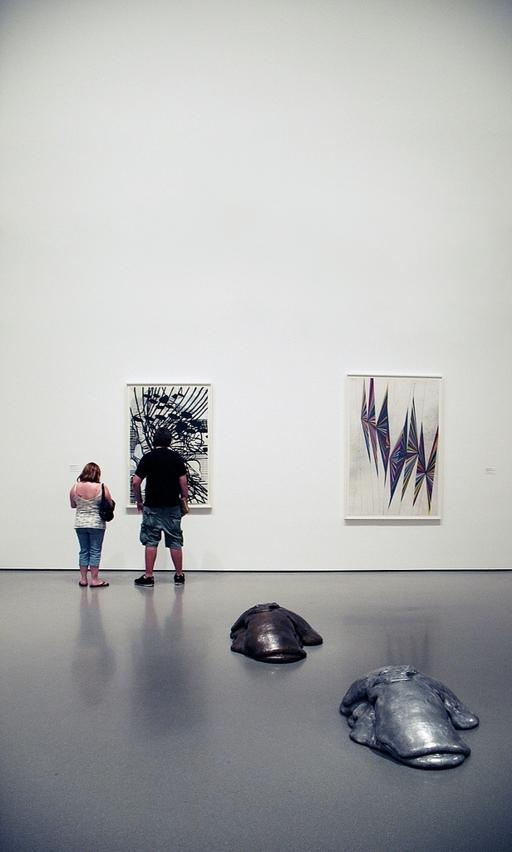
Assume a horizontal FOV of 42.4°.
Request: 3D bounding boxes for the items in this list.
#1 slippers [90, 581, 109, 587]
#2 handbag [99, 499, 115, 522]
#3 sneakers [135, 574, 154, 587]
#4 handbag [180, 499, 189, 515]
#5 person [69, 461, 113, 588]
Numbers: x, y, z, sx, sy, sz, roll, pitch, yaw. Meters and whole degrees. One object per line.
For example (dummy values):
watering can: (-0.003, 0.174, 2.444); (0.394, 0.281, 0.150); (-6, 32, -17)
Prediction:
slippers: (-1.426, 1.444, 6.025); (0.159, 0.039, 0.211); (1, -4, -16)
handbag: (-1.388, 0.774, 6.096); (0.122, 0.218, 0.081); (1, -4, -11)
sneakers: (-1.011, 1.389, 6.008); (0.076, 0.103, 0.201); (3, -1, -45)
handbag: (-0.686, 0.747, 6.136); (0.027, 0.141, 0.126); (4, -5, 20)
person: (-1.527, 0.909, 6.156); (0.411, 1.124, 0.312); (0, -4, 6)
